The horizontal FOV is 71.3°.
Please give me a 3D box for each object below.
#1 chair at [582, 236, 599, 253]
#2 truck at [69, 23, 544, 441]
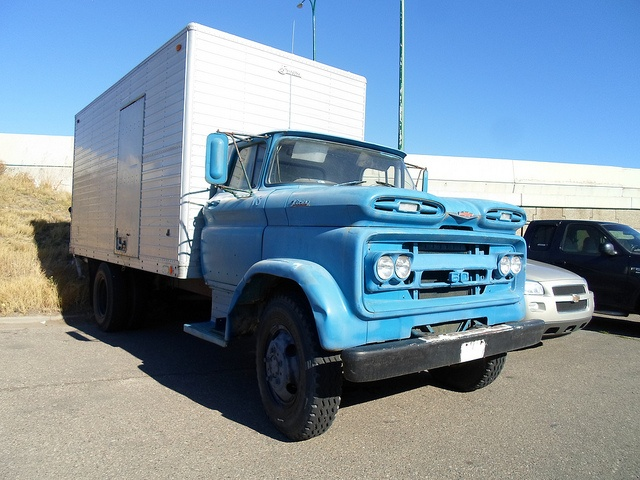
[{"bbox_3d":[5.351,0.085,8.791,0.256,0.304,0.251,3,-6,10],"label":"chair"},{"bbox_3d":[-0.858,-0.457,7.583,3.109,5.171,8.377,4,-3,-34],"label":"truck"}]
